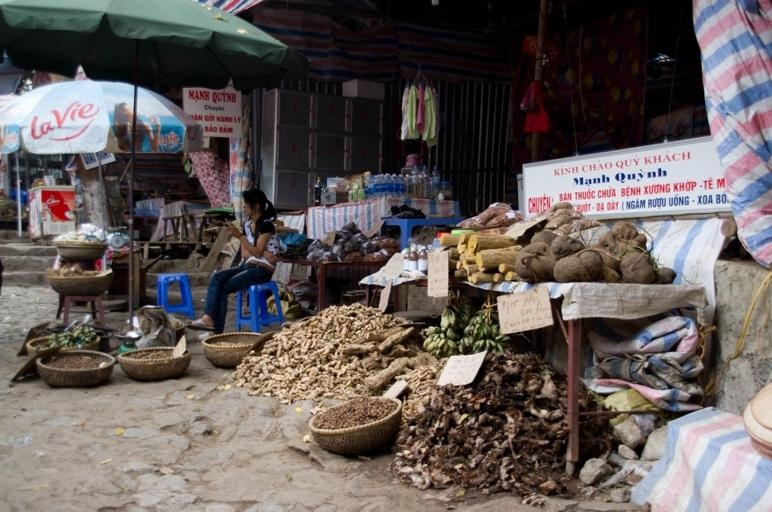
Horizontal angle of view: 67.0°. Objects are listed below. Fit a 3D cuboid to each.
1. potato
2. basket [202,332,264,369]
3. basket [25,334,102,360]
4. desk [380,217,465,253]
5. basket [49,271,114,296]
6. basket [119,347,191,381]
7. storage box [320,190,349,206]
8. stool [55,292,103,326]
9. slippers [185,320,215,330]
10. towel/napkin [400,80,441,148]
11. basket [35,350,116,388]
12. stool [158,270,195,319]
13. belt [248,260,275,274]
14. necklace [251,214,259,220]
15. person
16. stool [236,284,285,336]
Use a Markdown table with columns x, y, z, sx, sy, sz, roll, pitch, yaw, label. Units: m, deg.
| x | y | z | sx | sy | sz | roll | pitch | yaw | label |
| --- | --- | --- | --- | --- | --- | --- | --- | --- | --- |
| 1.542 | 0.022 | 4.438 | 0.805 | 0.292 | 0.575 | -1 | -2 | -4 | potato |
| -1.685 | 1.021 | 6.452 | 0.626 | 0.377 | 0.613 | -4 | 14 | -16 | basket |
| -3.472 | 0.936 | 6.195 | 0.406 | 0.148 | 0.368 | 5 | 3 | 7 | basket |
| 0.498 | -0.355 | 8.113 | 0.946 | 0.420 | 0.701 | -6 | 14 | -22 | desk |
| -3.834 | 0.347 | 7.304 | 0.459 | 0.168 | 0.415 | -6 | -1 | -7 | basket |
| -2.484 | 1.146 | 6.264 | 0.795 | 0.306 | 0.810 | 2 | 6 | -25 | basket |
| -0.869 | -0.955 | 9.459 | 0.256 | 0.270 | 0.710 | -11 | 16 | -35 | storage box |
| -3.987 | 0.662 | 7.678 | 0.687 | 0.482 | 0.657 | 1 | -4 | -15 | stool |
| -2.383 | 0.885 | 7.477 | 0.385 | 0.118 | 0.137 | 7 | -20 | 0 | slippers |
| 0.510 | -2.230 | 9.130 | 0.549 | 0.977 | 0.521 | 0 | 14 | 3 | towel/napkin |
| -3.105 | 1.147 | 5.862 | 0.698 | 0.285 | 0.504 | -6 | 14 | -24 | basket |
| -3.194 | 0.597 | 8.875 | 0.675 | 0.876 | 0.695 | -3 | -1 | -23 | stool |
| -1.575 | 0.118 | 7.428 | 0.178 | 0.043 | 0.174 | 12 | -11 | 31 | belt |
| -1.704 | -0.511 | 7.551 | 0.076 | 0.052 | 0.073 | 2 | 0 | -16 | necklace |
| -2.041 | 0.088 | 7.696 | 1.125 | 1.833 | 0.597 | 0 | 2 | -31 | person |
| -1.690 | 0.683 | 7.712 | 0.651 | 0.778 | 0.614 | 1 | 1 | 38 | stool |
